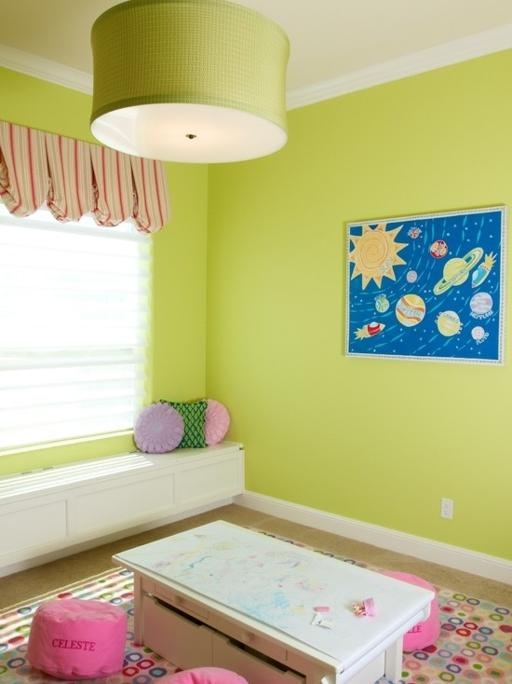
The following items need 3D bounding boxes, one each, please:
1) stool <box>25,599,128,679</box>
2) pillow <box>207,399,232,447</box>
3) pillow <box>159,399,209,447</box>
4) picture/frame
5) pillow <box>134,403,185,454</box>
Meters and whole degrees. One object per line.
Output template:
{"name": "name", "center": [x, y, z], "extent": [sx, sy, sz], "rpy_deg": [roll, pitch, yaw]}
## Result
{"name": "stool", "center": [-0.585, 0.986, 1.901], "extent": [0.281, 0.184, 0.285], "rpy_deg": [-1, -11, 45]}
{"name": "pillow", "center": [-0.254, 0.608, 4.034], "extent": [0.239, 0.255, 0.069], "rpy_deg": [8, -18, 22]}
{"name": "pillow", "center": [-0.496, 0.571, 3.784], "extent": [0.325, 0.309, 0.115], "rpy_deg": [3, -13, -41]}
{"name": "picture/frame", "center": [0.921, -0.305, 2.955], "extent": [0.946, 0.850, 0.038], "rpy_deg": [3, 3, 43]}
{"name": "pillow", "center": [-0.644, 0.581, 3.663], "extent": [0.322, 0.319, 0.090], "rpy_deg": [-3, -10, -19]}
